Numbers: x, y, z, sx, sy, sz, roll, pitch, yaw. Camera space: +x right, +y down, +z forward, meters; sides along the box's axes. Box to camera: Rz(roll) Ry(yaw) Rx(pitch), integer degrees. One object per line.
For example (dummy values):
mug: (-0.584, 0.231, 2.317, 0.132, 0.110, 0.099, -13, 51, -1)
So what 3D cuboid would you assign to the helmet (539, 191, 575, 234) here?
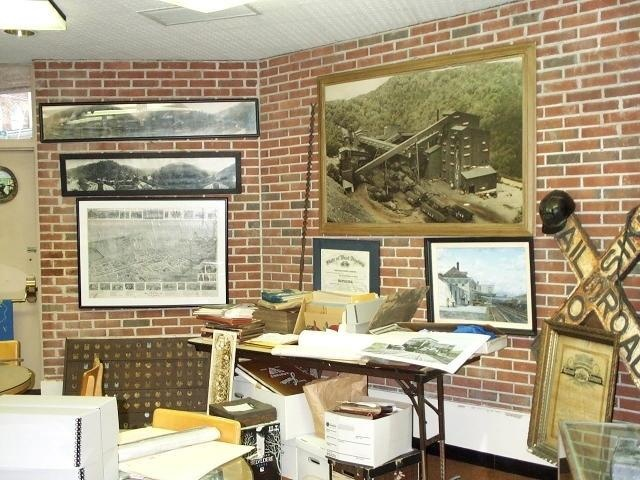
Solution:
helmet: (1.531, -0.176, 3.620, 0.153, 0.289, 0.232, 32, -19, -32)

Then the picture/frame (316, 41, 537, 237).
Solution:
picture/frame: (0.894, -0.799, 4.273, 1.773, 1.121, 0.074, 2, 2, 33)

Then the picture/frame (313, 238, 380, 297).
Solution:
picture/frame: (0.247, 0.229, 4.625, 0.502, 0.389, 0.037, 2, 4, 35)

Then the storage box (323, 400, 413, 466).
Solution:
storage box: (0.318, 1.116, 3.350, 0.387, 0.240, 0.399, -1, -1, 42)
